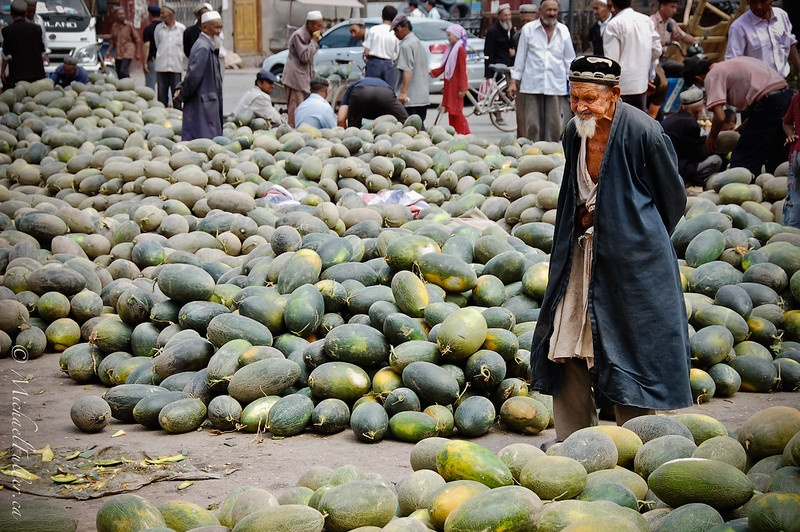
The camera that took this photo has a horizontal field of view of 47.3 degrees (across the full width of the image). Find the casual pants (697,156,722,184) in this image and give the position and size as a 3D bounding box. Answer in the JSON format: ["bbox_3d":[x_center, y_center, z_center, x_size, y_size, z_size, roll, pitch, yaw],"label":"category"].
[{"bbox_3d":[4.625,-1.447,13.725,0.540,0.197,0.251,-37,4,-5],"label":"casual pants"}]

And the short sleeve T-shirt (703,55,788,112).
[{"bbox_3d":[4.951,-2.644,13.212,0.855,0.444,0.819,-5,7,-7],"label":"short sleeve T-shirt"}]

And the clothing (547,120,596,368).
[{"bbox_3d":[1.679,-0.178,8.486,0.490,2.054,0.550,1,-5,14],"label":"clothing"}]

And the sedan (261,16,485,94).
[{"bbox_3d":[-0.477,-5.748,24.149,5.521,2.021,2.654,11,15,36],"label":"sedan"}]

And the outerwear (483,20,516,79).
[{"bbox_3d":[2.476,-5.026,21.303,1.015,1.412,0.511,2,-28,-1],"label":"outerwear"}]
